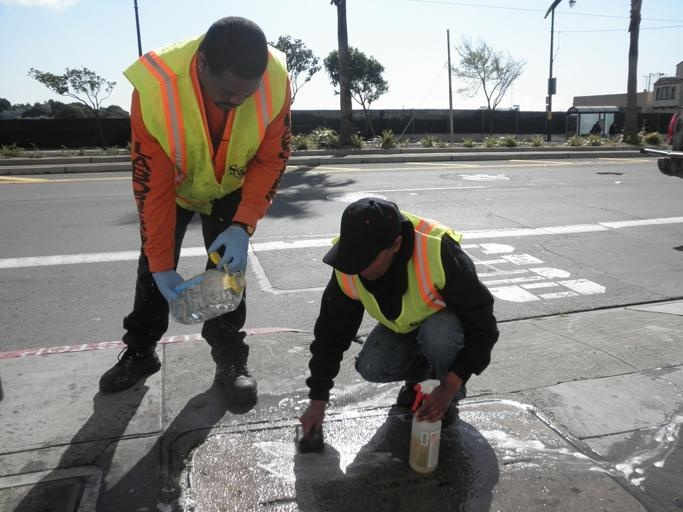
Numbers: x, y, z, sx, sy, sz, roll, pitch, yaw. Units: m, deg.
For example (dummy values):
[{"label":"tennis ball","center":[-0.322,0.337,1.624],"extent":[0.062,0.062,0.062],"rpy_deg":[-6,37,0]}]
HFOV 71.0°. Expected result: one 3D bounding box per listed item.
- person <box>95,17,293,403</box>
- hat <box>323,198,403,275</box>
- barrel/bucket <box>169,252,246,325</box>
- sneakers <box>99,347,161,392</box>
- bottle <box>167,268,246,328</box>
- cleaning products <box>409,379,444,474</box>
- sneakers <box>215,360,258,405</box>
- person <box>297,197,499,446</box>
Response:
[{"label":"person","center":[-0.819,-0.204,2.755],"extent":[0.859,2.099,1.105],"rpy_deg":[-11,22,-44]},{"label":"hat","center":[0.100,-0.115,2.256],"extent":[0.254,0.225,0.400],"rpy_deg":[23,53,40]},{"label":"barrel/bucket","center":[-0.712,0.212,2.558],"extent":[0.351,0.422,0.322],"rpy_deg":[5,13,-1]},{"label":"sneakers","center":[-1.326,0.672,3.010],"extent":[0.162,0.237,0.360],"rpy_deg":[6,16,39]},{"label":"bottle","center":[-0.730,0.215,2.553],"extent":[0.321,0.341,0.277],"rpy_deg":[0,13,-20]},{"label":"cleaning products","center":[0.420,0.844,2.387],"extent":[0.144,0.455,0.151],"rpy_deg":[4,5,9]},{"label":"sneakers","center":[-0.636,0.758,2.835],"extent":[0.231,0.167,0.369],"rpy_deg":[6,12,-14]},{"label":"person","center":[0.307,0.337,2.649],"extent":[0.976,1.275,0.850],"rpy_deg":[-1,10,5]}]
